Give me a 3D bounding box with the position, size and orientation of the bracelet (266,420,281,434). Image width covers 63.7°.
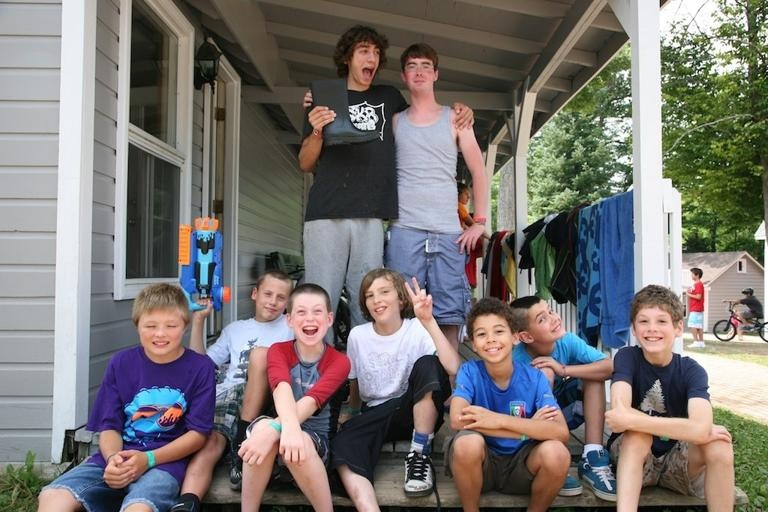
[{"bbox_3d":[-0.629,0.969,3.512,0.024,0.062,0.061,-27,-37,-3],"label":"bracelet"}]

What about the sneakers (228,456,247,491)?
[{"bbox_3d":[-0.875,1.285,3.699,0.075,0.100,0.229,2,2,-9],"label":"sneakers"}]

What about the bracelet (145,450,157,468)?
[{"bbox_3d":[-1.331,1.164,3.533,0.030,0.084,0.060,-1,-22,-32],"label":"bracelet"}]

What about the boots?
[{"bbox_3d":[-0.228,-0.944,4.110,0.522,0.531,0.258,-1,-4,-19],"label":"boots"}]

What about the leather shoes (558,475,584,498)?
[{"bbox_3d":[1.112,1.357,3.667,0.088,0.091,0.210,1,0,7],"label":"leather shoes"}]

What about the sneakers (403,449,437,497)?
[{"bbox_3d":[0.209,1.298,3.744,0.162,0.180,0.435,-4,4,9],"label":"sneakers"}]

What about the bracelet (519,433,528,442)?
[{"bbox_3d":[0.804,1.054,3.591,0.045,0.049,0.071,-4,-4,23],"label":"bracelet"}]
